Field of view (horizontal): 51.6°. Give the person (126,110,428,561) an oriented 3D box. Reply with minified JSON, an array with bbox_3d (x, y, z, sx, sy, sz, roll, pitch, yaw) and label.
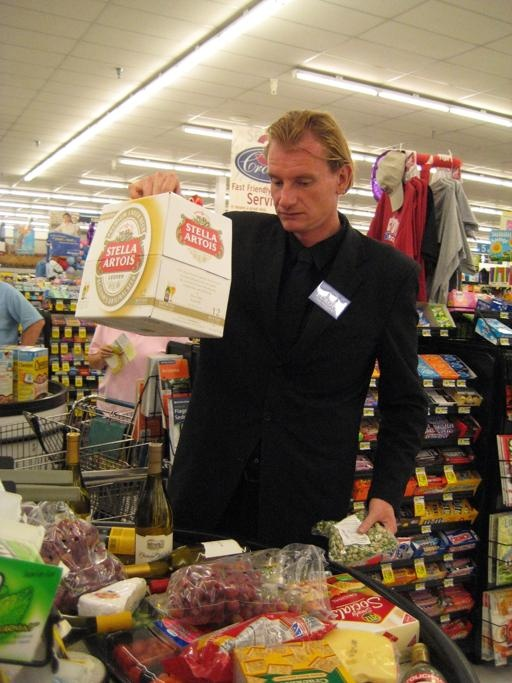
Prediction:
[{"bbox_3d":[0.132,0.084,1.573,0.696,1.165,0.349,6,0,26],"label":"person"}]

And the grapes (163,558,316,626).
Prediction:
[{"bbox_3d":[-0.033,0.389,0.823,0.136,0.048,0.103,-4,-1,0],"label":"grapes"}]

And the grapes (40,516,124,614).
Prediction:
[{"bbox_3d":[-0.284,0.357,0.861,0.096,0.122,0.050,-26,-8,-40],"label":"grapes"}]

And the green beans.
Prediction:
[{"bbox_3d":[0.204,0.428,1.145,0.167,0.043,0.173,11,24,16],"label":"green beans"}]

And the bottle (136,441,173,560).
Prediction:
[{"bbox_3d":[-0.213,0.355,1.117,0.085,0.283,0.067,1,12,-13],"label":"bottle"}]

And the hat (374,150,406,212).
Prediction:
[{"bbox_3d":[0.985,-1.187,3.890,0.128,0.396,0.284,-10,22,-35],"label":"hat"}]

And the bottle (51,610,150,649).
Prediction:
[{"bbox_3d":[-0.208,0.381,0.709,0.116,0.029,0.113,-1,-11,0],"label":"bottle"}]
